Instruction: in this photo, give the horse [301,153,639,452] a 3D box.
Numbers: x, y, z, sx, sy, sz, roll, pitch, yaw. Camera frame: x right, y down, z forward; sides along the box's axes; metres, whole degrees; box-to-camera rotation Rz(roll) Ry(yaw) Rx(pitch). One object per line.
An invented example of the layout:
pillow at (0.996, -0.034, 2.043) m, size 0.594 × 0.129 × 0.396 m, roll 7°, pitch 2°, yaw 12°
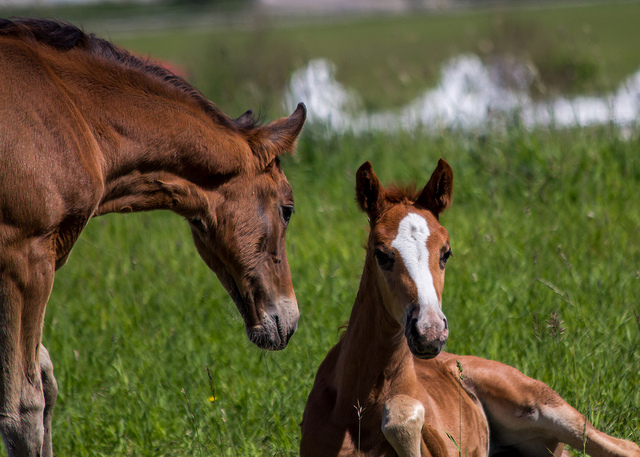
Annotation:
horse at (0.838, 0.840, 8.881) m, size 2.154 × 2.680 × 1.056 m, roll -8°, pitch 17°, yaw -5°
